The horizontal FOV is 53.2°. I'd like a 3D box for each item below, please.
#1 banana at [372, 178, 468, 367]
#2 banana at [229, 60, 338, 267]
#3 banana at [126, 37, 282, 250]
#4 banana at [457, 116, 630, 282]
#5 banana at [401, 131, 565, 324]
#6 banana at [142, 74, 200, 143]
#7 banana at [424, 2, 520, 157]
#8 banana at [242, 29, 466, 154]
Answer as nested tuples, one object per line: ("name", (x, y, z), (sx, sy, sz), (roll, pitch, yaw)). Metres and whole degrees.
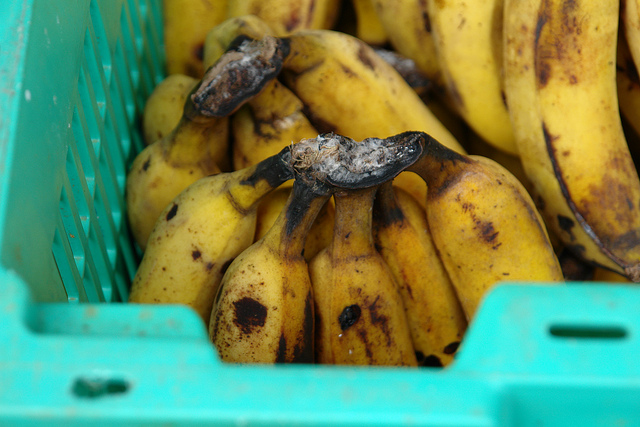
("banana", (0.187, 0.115, 1.226), (0.115, 0.472, 0.157), (-14, 4, 21))
("banana", (-0.062, -0.089, 1.167), (0.087, 0.352, 0.130), (-24, -17, -16))
("banana", (-0.221, -0.120, 1.238), (0.179, 0.209, 0.469), (-29, -20, -29))
("banana", (0.408, -0.027, 1.161), (0.070, 0.318, 0.106), (-38, -2, -17))
("banana", (0.277, 0.030, 1.104), (0.138, 0.432, 0.153), (-33, 26, -27))
("banana", (-0.335, -0.233, 1.395), (0.072, 0.149, 0.137), (13, 9, 17))
("banana", (0.336, -0.278, 1.327), (0.154, 0.460, 0.112), (5, 32, 38))
("banana", (0.055, -0.233, 1.231), (0.332, 0.092, 0.111), (32, -24, -23))
